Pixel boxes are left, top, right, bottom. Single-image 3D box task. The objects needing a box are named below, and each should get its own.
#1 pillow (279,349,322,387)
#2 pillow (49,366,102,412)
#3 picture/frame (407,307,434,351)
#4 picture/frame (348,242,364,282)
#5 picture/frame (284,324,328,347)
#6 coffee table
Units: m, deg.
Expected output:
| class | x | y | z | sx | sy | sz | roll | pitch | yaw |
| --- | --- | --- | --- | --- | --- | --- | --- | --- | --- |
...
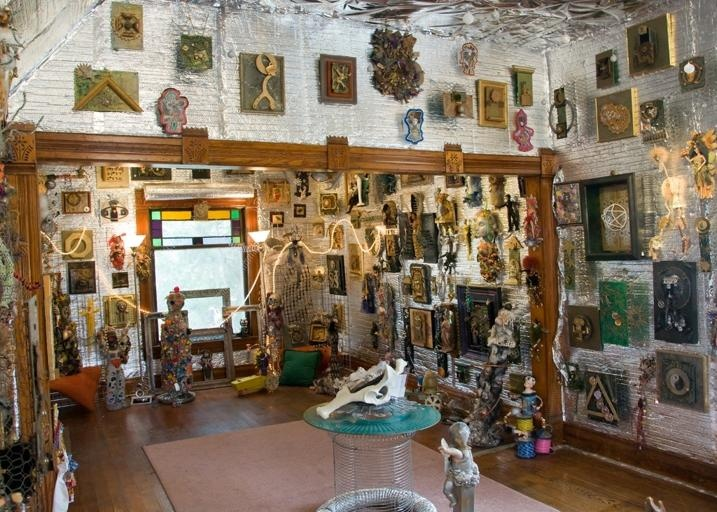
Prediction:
| class | x | y | z | sx | sy | sz | roll | pitch | yaw |
| --- | --- | --- | --- | --- | --- | --- | --- | --- | --- |
| pillow | -0.970 | 1.877 | 9.312 | 0.512 | 0.488 | 0.188 | 8 | -21 | 12 |
| pillow | -4.204 | 2.017 | 8.341 | 0.691 | 0.607 | 0.335 | -4 | 5 | -29 |
| picture/frame | 0.916 | 1.052 | 8.186 | 0.101 | 0.691 | 0.671 | -5 | 5 | -32 |
| picture/frame | -0.043 | 0.089 | 9.568 | 0.068 | 0.867 | 0.650 | -3 | 5 | -30 |
| picture/frame | -0.937 | 1.436 | 10.176 | 0.780 | 0.489 | 0.180 | -6 | -7 | 20 |
| coffee table | 0.101 | 1.633 | 4.790 | 0.939 | 0.653 | 0.930 | 1 | -3 | -32 |
